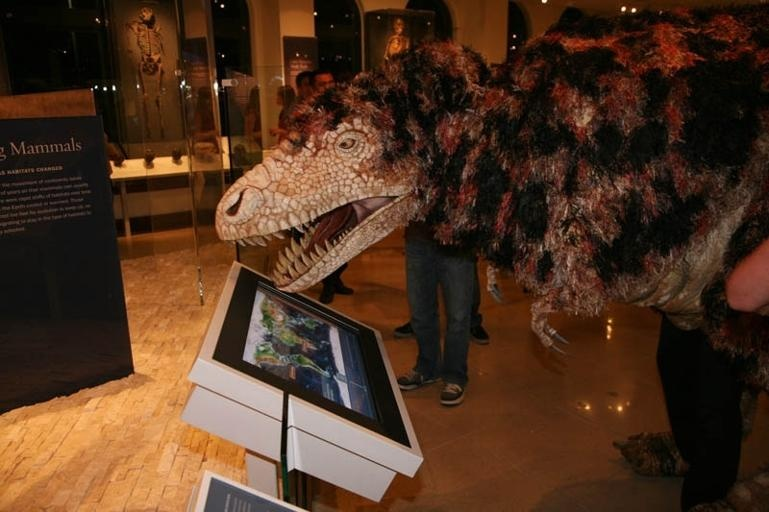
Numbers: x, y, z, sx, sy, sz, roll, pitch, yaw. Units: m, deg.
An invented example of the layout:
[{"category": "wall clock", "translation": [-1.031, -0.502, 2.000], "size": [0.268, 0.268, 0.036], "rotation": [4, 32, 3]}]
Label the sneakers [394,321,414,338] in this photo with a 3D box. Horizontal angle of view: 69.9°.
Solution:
[{"category": "sneakers", "translation": [0.179, 0.604, 4.601], "size": [0.246, 0.104, 0.113], "rotation": [-1, 11, -42]}]

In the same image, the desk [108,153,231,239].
[{"category": "desk", "translation": [-2.358, -0.595, 5.737], "size": [1.501, 0.723, 0.775], "rotation": [-8, 32, -19]}]

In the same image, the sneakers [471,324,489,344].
[{"category": "sneakers", "translation": [0.787, 0.646, 4.513], "size": [0.077, 0.081, 0.212], "rotation": [-5, 13, -12]}]
